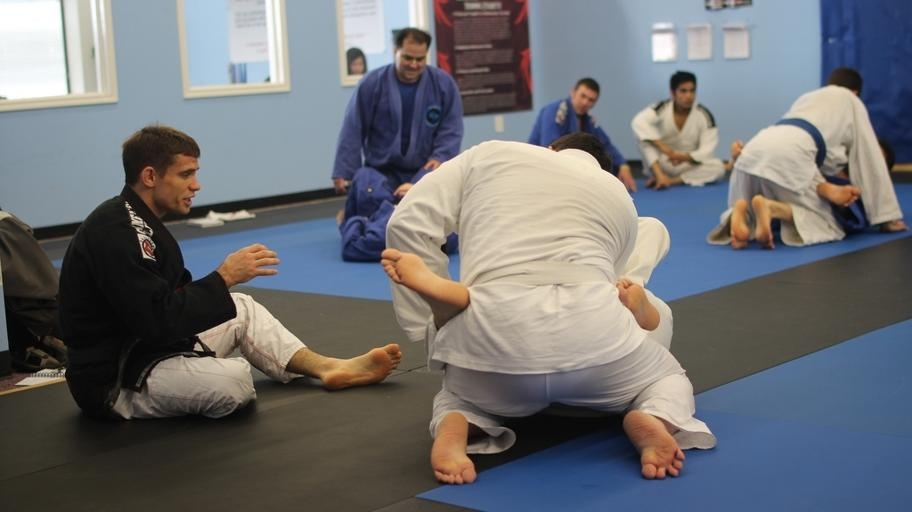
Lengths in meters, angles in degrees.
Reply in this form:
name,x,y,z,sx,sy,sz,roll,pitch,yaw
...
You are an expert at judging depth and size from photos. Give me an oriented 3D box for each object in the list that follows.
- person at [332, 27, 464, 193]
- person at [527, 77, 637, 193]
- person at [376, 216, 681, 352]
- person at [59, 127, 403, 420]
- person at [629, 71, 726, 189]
name,x,y,z,sx,sy,sz,roll,pitch,yaw
person,-0.431,-1.047,5.818,1.107,1.447,0.924,-6,33,-21
person,1.377,-1.260,7.423,0.989,1.024,1.290,4,22,-13
person,0.550,0.223,3.587,0.938,0.455,1.298,1,-12,4
person,-1.111,0.086,3.648,1.648,1.323,0.921,1,6,-22
person,2.477,-1.356,7.849,1.055,1.177,1.044,13,31,30
